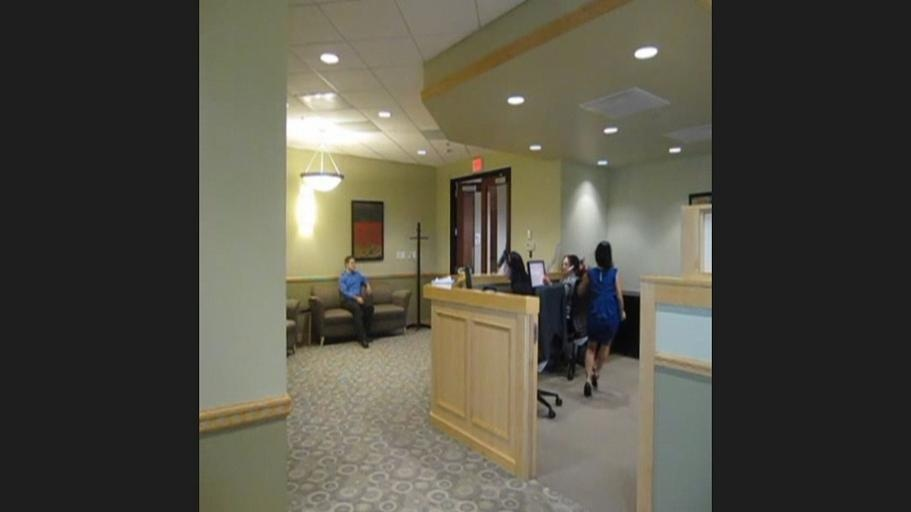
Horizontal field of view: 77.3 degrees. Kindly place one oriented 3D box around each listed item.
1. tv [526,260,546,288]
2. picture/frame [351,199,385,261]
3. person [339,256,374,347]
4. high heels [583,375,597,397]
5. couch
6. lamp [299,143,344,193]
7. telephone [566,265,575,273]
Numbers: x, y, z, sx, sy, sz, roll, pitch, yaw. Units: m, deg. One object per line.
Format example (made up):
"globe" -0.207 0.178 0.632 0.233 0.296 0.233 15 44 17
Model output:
"tv" 0.592 0.141 4.216 0.177 0.196 0.026 6 -15 -43
"picture/frame" -0.945 -0.256 6.093 0.433 0.624 0.032 3 6 27
"person" -0.977 0.418 5.575 0.329 0.825 0.898 0 0 -11
"high heels" 0.771 0.762 3.281 0.054 0.059 0.157 2 10 15
"couch" -0.975 0.544 5.715 1.086 0.487 0.399 -2 9 -35
"lamp" -1.279 -0.830 5.415 0.383 0.437 0.847 0 0 -12
"telephone" 0.721 0.084 3.582 0.038 0.037 0.029 -11 -5 24
